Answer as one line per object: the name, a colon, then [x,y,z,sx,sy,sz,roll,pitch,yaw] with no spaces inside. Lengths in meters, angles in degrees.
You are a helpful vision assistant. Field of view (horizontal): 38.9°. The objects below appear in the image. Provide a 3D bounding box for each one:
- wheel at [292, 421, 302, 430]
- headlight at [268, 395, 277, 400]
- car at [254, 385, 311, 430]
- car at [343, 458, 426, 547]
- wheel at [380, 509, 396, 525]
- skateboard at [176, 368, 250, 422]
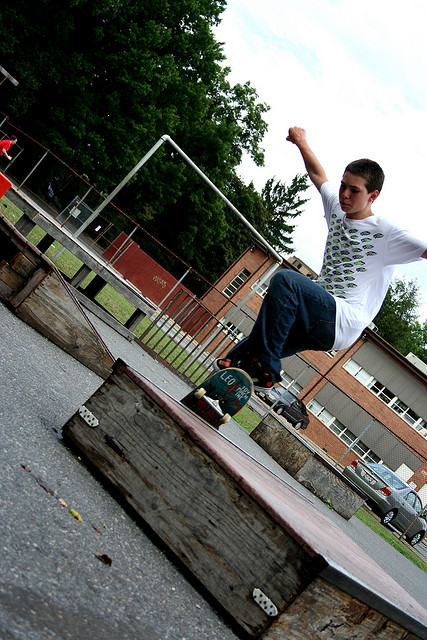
wheel: [3.018,3.736,21.579,0.172,0.385,0.460,41,2,33]
headlight: [2.028,2.675,20.838,0.202,0.129,0.793,37,1,13]
car: [2.577,3.098,21.729,2.257,0.972,1.218,40,-6,-35]
car: [4.394,4.527,15.155,2.436,1.225,1.196,36,1,-16]
wheel: [4.205,4.761,14.670,0.362,0.362,0.125,44,11,-38]
skateboard: [0.038,0.408,3.345,0.272,0.379,0.272,39,0,4]
